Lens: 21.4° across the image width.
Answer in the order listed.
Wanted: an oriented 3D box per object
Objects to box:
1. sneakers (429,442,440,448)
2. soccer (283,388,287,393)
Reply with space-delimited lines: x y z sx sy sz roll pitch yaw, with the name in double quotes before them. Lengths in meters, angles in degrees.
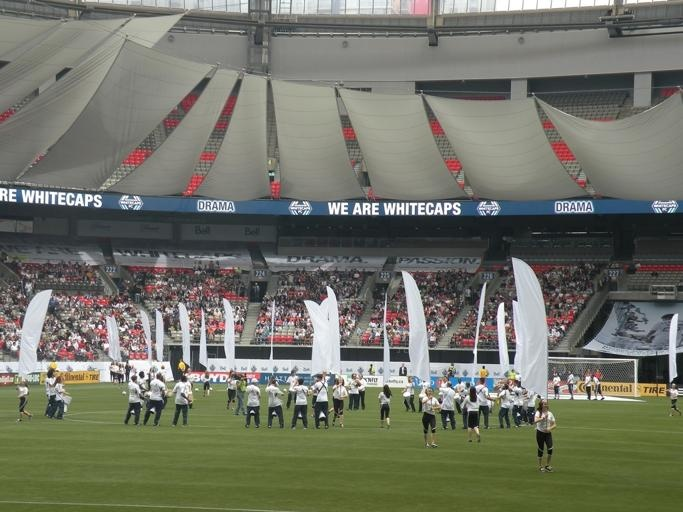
"sneakers" 5.247 10.771 103.793 0.522 0.234 0.193 -5 -5 27
"soccer" -4.006 9.160 124.941 0.395 0.157 0.490 10 5 -15
